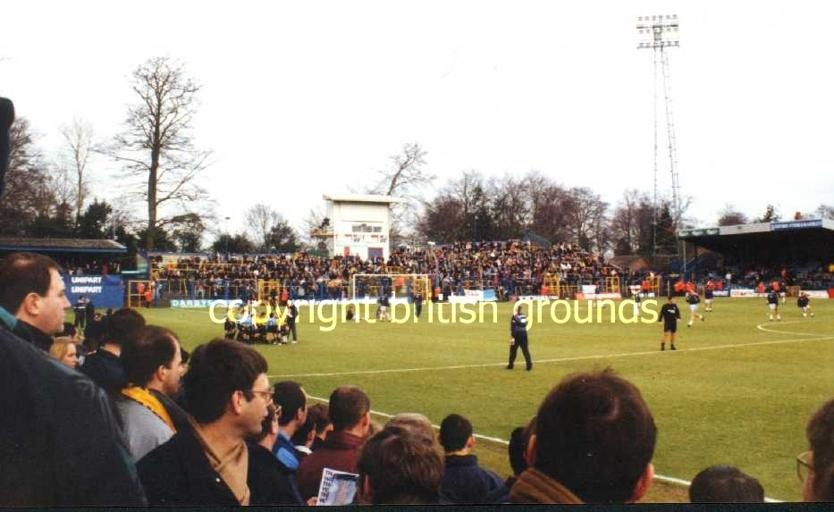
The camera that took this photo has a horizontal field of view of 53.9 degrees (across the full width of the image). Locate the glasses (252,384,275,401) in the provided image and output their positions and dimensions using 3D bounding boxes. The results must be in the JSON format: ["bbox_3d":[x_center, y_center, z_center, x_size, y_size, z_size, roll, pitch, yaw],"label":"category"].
[{"bbox_3d":[-2.185,1.958,11.661,0.149,0.192,0.383,-1,-2,29],"label":"glasses"}]
